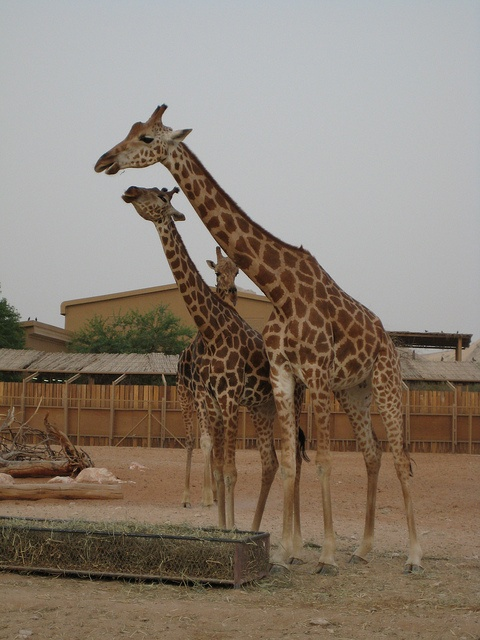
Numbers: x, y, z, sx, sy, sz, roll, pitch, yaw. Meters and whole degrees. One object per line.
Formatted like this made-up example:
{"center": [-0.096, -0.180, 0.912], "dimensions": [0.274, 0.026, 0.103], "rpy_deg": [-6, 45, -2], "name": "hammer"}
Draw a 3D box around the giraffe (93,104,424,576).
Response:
{"center": [0.396, 0.176, 7.865], "dimensions": [2.384, 4.006, 0.961], "rpy_deg": [0, -7, -7], "name": "giraffe"}
